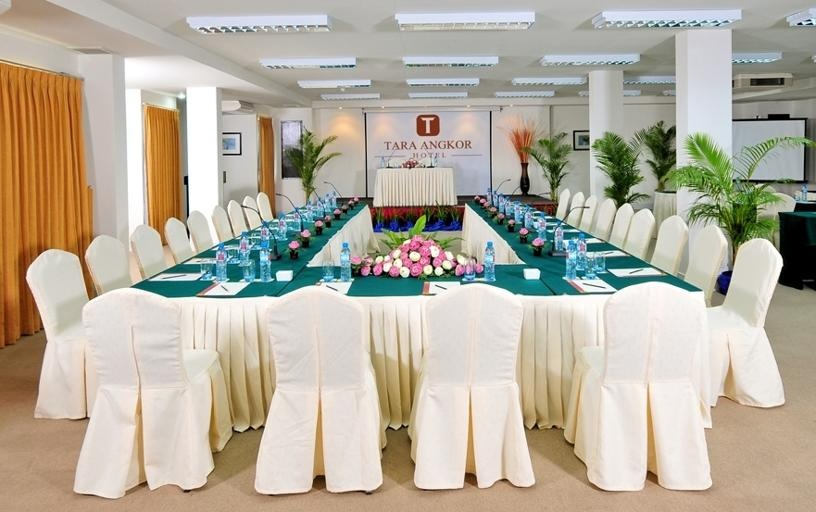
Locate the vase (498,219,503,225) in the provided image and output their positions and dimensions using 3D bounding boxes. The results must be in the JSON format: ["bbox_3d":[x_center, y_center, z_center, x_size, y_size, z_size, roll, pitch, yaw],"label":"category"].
[{"bbox_3d":[1.374,-0.494,8.188,0.077,0.088,0.078,-13,20,-40],"label":"vase"}]

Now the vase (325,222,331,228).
[{"bbox_3d":[-1.171,-0.448,8.144,0.064,0.074,0.076,0,0,-2],"label":"vase"}]

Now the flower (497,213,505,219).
[{"bbox_3d":[1.397,-0.583,8.278,0.092,0.072,0.092,2,6,11],"label":"flower"}]

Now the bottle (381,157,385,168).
[{"bbox_3d":[-0.659,-2.570,15.081,0.153,0.260,0.388,-1,10,-6],"label":"bottle"}]

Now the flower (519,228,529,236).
[{"bbox_3d":[1.381,-0.274,6.567,0.095,0.065,0.097,-3,9,1],"label":"flower"}]

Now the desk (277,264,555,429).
[{"bbox_3d":[0.177,0.976,5.253,2.381,1.236,1.536,5,-6,-13],"label":"desk"}]

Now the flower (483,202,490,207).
[{"bbox_3d":[1.412,-0.898,9.741,0.088,0.094,0.086,-1,4,4],"label":"flower"}]

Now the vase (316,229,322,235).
[{"bbox_3d":[-1.212,-0.328,7.587,0.073,0.079,0.073,1,12,-1],"label":"vase"}]

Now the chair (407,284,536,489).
[{"bbox_3d":[0.467,1.001,4.081,1.104,1.690,1.121,0,19,1],"label":"chair"}]

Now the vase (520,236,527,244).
[{"bbox_3d":[1.387,-0.183,6.567,0.078,0.059,0.079,0,3,2],"label":"vase"}]

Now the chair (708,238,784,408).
[{"bbox_3d":[3.021,0.584,4.898,0.713,1.471,0.522,3,11,13],"label":"chair"}]

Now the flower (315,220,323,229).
[{"bbox_3d":[-1.209,-0.417,7.566,0.125,0.135,0.103,-1,10,-5],"label":"flower"}]

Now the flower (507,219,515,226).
[{"bbox_3d":[1.466,-0.458,7.774,0.109,0.042,0.114,-2,16,1],"label":"flower"}]

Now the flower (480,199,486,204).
[{"bbox_3d":[1.385,-0.984,10.062,0.154,0.054,0.158,0,12,6],"label":"flower"}]

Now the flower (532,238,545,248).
[{"bbox_3d":[1.381,-0.134,5.842,0.086,0.058,0.092,-2,8,-2],"label":"flower"}]

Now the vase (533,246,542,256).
[{"bbox_3d":[1.389,-0.048,5.888,0.088,0.091,0.091,-1,-6,0],"label":"vase"}]

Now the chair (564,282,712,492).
[{"bbox_3d":[1.749,0.931,4.128,0.947,1.521,0.557,0,11,0],"label":"chair"}]

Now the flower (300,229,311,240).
[{"bbox_3d":[-1.201,-0.246,6.549,0.122,0.082,0.126,0,4,0],"label":"flower"}]

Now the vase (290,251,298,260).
[{"bbox_3d":[-1.223,0.001,5.971,0.078,0.091,0.081,0,1,3],"label":"vase"}]

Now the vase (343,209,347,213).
[{"bbox_3d":[-1.120,-0.799,9.928,0.055,0.059,0.106,3,-1,1],"label":"vase"}]

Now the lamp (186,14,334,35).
[{"bbox_3d":[-1.909,-3.045,7.210,1.786,0.152,0.475,0,10,0],"label":"lamp"}]

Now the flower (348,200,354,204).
[{"bbox_3d":[-1.067,-1.019,10.441,0.107,0.049,0.148,-1,8,1],"label":"flower"}]

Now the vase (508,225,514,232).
[{"bbox_3d":[1.424,-0.365,7.567,0.078,0.065,0.084,0,-1,5],"label":"vase"}]
